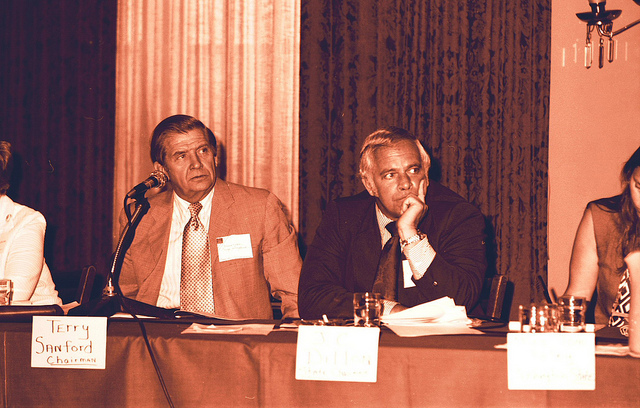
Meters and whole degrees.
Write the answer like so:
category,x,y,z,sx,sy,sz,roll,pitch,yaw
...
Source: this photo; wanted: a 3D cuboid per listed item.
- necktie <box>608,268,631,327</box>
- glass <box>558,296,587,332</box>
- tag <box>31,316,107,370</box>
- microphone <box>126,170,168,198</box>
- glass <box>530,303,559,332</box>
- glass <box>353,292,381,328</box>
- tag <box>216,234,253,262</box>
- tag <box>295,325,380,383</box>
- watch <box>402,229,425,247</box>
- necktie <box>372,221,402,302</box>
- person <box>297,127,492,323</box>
category,x,y,z,sx,sy,sz,roll,pitch,yaw
necktie,1.567,0.492,3.780,0.109,0.284,0.514,-4,-8,22
glass,1.176,0.513,3.362,0.122,0.162,0.223,-4,-8,19
tag,-1.137,0.641,3.271,0.242,0.174,0.005,0,-7,-1
microphone,-0.895,-0.123,3.823,0.096,0.091,0.312,-19,5,24
glass,1.033,0.519,3.289,0.165,0.128,0.059,2,-8,-25
glass,0.231,0.484,3.489,0.170,0.189,0.167,0,19,3
tag,-0.501,0.256,4.203,0.203,0.152,0.016,0,-7,-10
tag,0.075,0.667,3.197,0.362,0.253,0.014,-1,-33,6
watch,0.485,0.181,3.761,0.088,0.037,0.072,-31,-8,16
necktie,0.368,0.319,3.996,0.168,0.438,0.056,-2,-7,8
person,0.360,0.094,4.003,1.079,1.064,0.517,-2,-7,8
